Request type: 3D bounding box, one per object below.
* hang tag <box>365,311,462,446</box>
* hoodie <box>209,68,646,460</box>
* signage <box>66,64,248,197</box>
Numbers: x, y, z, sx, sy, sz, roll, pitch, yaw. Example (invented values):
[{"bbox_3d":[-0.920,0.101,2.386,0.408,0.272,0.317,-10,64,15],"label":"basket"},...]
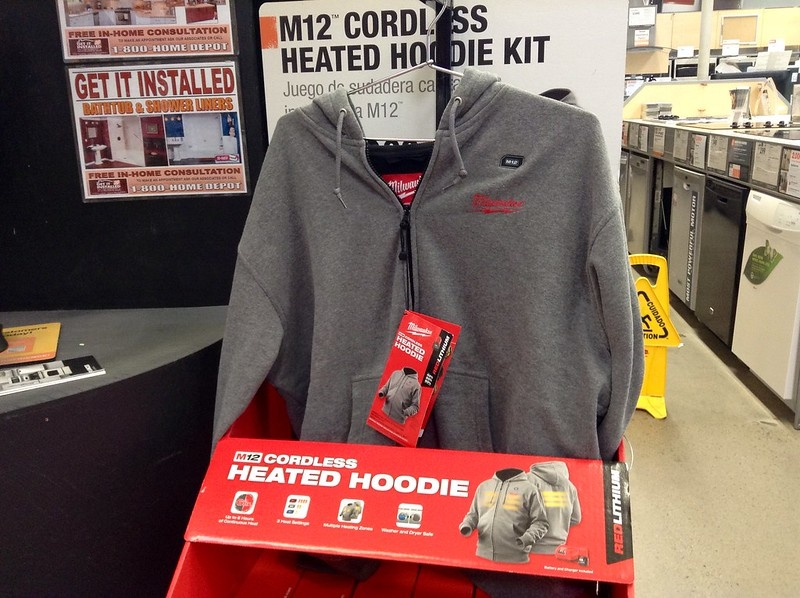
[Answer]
[{"bbox_3d":[0.022,0.179,1.293,0.193,0.297,0.125,9,23,27],"label":"hang tag"},{"bbox_3d":[0.072,-0.077,1.407,1.041,1.005,0.282,5,13,11],"label":"hoodie"},{"bbox_3d":[-0.772,-0.533,1.769,0.532,0.408,0.006,-2,8,1],"label":"signage"}]
